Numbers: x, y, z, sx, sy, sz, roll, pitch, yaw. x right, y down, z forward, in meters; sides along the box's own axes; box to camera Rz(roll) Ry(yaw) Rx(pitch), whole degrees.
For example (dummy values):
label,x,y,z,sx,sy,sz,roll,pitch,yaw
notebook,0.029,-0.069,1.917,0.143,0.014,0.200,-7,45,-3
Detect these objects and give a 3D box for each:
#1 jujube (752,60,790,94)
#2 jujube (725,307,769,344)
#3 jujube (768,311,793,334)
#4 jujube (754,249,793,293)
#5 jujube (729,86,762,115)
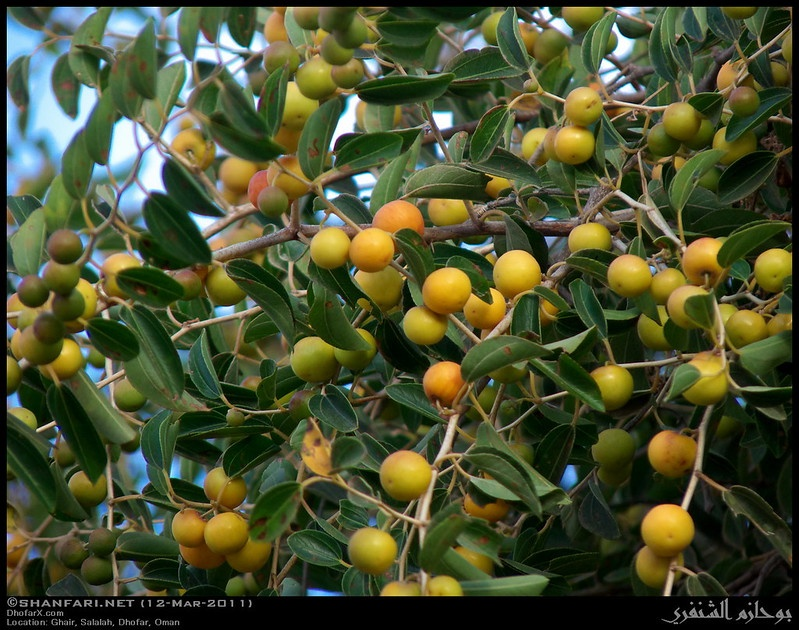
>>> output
label,x,y,z,sx,sy,sz,roll,pitch,yaw
jujube,0.821,-0.519,2.651,0.082,0.083,0.097,-4,91,18
jujube,0.659,0.018,2.284,0.069,0.080,0.070,4,112,21
jujube,0.725,0.011,2.296,0.043,0.034,0.042,5,51,21
jujube,0.711,-0.091,2.287,0.076,0.091,0.076,-2,91,8
jujube,0.712,-0.450,2.491,0.058,0.059,0.067,-13,77,29
